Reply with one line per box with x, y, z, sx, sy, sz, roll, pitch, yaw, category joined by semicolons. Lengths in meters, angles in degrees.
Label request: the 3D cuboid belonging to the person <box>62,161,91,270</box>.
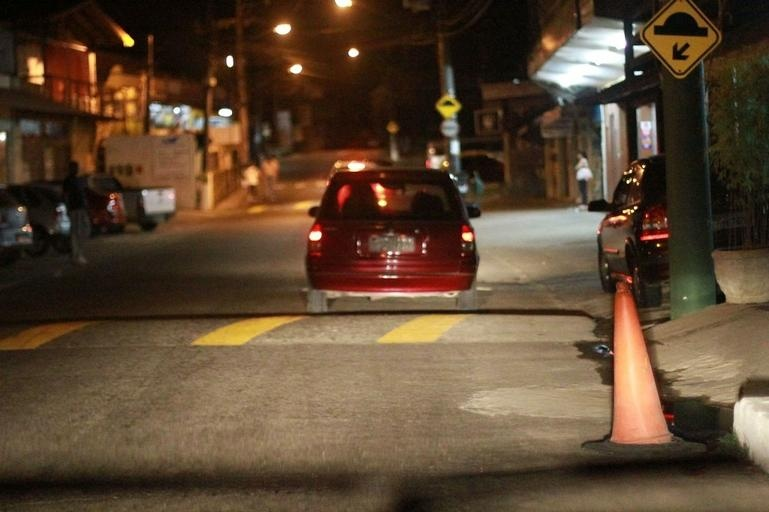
-7.369;-1.166;18.689;0.489;2.124;0.628;3;15;-4;person

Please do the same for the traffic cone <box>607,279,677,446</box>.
2.110;0.943;6.634;0.496;1.238;0.519;-5;6;-19;traffic cone

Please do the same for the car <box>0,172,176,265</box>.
-8.724;-1.425;23.905;4.327;1.521;1.965;-3;4;-21;car
